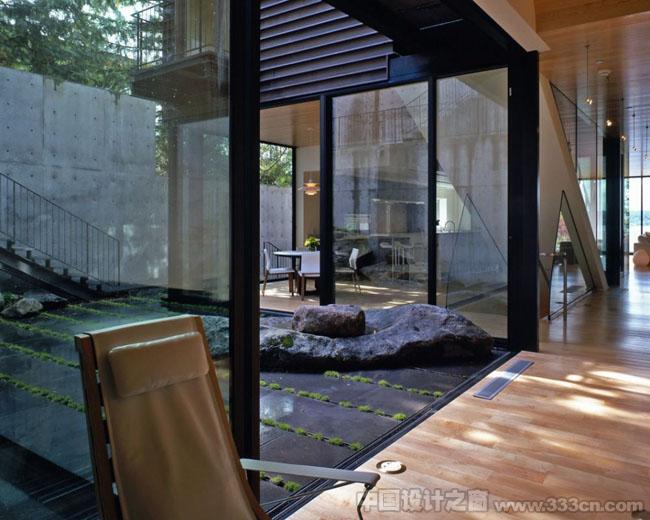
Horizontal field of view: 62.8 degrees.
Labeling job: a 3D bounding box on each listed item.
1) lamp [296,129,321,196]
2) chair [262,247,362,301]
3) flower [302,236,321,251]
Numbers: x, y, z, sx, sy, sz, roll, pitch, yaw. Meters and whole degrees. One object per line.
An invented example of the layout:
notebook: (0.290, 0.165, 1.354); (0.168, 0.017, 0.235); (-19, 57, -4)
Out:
lamp: (-0.393, -2.002, 11.707); (0.552, 1.126, 1.340); (-4, 4, -6)
chair: (-0.405, 0.130, 9.058); (1.134, 0.521, 1.118); (0, 4, 8)
flower: (-0.221, -0.298, 9.379); (0.342, 0.304, 0.344); (3, 6, 24)
